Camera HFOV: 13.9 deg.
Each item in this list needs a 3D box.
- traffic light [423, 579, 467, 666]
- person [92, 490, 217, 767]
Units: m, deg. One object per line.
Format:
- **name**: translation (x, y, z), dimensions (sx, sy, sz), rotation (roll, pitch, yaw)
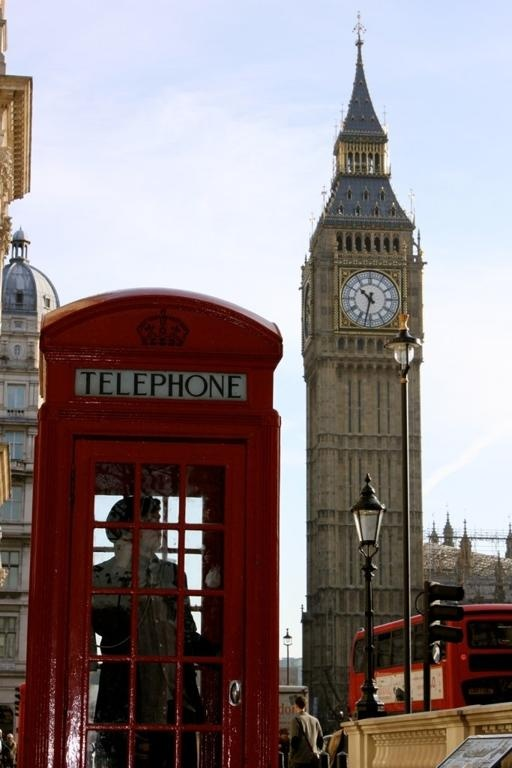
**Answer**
- **traffic light**: translation (1.635, 2.126, 18.670), dimensions (0.276, 0.793, 0.186), rotation (3, 9, 17)
- **person**: translation (-0.496, 1.177, 10.006), dimensions (0.570, 1.293, 0.145), rotation (0, -6, -4)
